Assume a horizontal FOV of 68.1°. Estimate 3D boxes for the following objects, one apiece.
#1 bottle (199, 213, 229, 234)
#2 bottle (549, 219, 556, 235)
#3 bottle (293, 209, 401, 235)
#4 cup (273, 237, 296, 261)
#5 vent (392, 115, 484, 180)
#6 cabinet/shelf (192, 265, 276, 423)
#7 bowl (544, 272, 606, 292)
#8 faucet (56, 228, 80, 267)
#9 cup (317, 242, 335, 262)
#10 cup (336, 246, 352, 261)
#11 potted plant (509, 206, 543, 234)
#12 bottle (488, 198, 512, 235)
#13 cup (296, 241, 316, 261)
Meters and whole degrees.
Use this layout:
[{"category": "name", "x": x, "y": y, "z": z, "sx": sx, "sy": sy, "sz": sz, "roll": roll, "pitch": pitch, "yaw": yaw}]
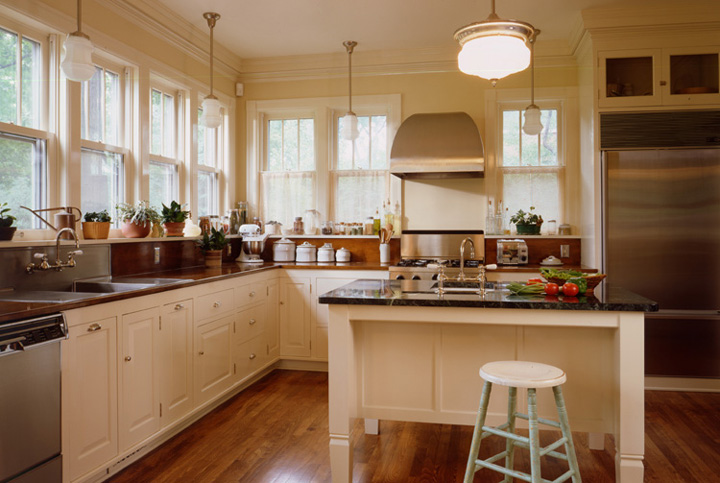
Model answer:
[{"category": "bottle", "x": -1.620, "y": -0.196, "z": 5.921, "sx": 0.347, "sy": 0.325, "sz": 0.198, "roll": 2, "pitch": -5, "yaw": -19}, {"category": "bottle", "x": 2.152, "y": -0.163, "z": 5.974, "sx": 0.087, "sy": 0.157, "sz": 0.087, "roll": -1, "pitch": 3, "yaw": 0}, {"category": "bottle", "x": -0.113, "y": -0.236, "z": 6.336, "sx": 1.122, "sy": 0.308, "sz": 0.341, "roll": -1, "pitch": 3, "yaw": 1}, {"category": "cup", "x": -0.878, "y": 0.090, "z": 6.193, "sx": 0.259, "sy": 0.268, "sz": 0.280, "roll": -1, "pitch": 3, "yaw": 0}, {"category": "vent", "x": 0.970, "y": -1.120, "z": 5.966, "sx": 1.056, "sy": 0.669, "sz": 0.784, "roll": 5, "pitch": 18, "yaw": 27}, {"category": "cabinet/shelf", "x": -1.170, "y": 0.954, "z": 4.867, "sx": 0.475, "sy": 0.866, "sz": 1.291, "roll": -1, "pitch": 1, "yaw": 11}, {"category": "bowl", "x": 1.603, "y": 0.280, "z": 3.814, "sx": 0.589, "sy": 0.129, "sz": 0.267, "roll": -2, "pitch": 3, "yaw": -30}, {"category": "faucet", "x": -2.177, "y": 0.050, "z": 3.991, "sx": 0.152, "sy": 0.309, "sz": 0.563, "roll": -2, "pitch": 3, "yaw": -27}, {"category": "cup", "x": -0.390, "y": 0.130, "z": 6.122, "sx": 0.198, "sy": 0.201, "sz": 0.190, "roll": 0, "pitch": -4, "yaw": 0}, {"category": "cup", "x": -0.195, "y": 0.149, "z": 6.059, "sx": 0.144, "sy": 0.134, "sz": 0.139, "roll": 0, "pitch": -5, "yaw": 0}, {"category": "potted plant", "x": 1.834, "y": -0.228, "z": 5.934, "sx": 0.335, "sy": 0.243, "sz": 0.327, "roll": -1, "pitch": -2, "yaw": 13}, {"category": "bottle", "x": 1.585, "y": -0.283, "z": 6.058, "sx": 0.322, "sy": 0.407, "sz": 0.111, "roll": -2, "pitch": 3, "yaw": -28}, {"category": "cup", "x": -0.611, "y": 0.122, "z": 6.102, "sx": 0.208, "sy": 0.207, "sz": 0.200, "roll": 0, "pitch": -5, "yaw": 0}]
